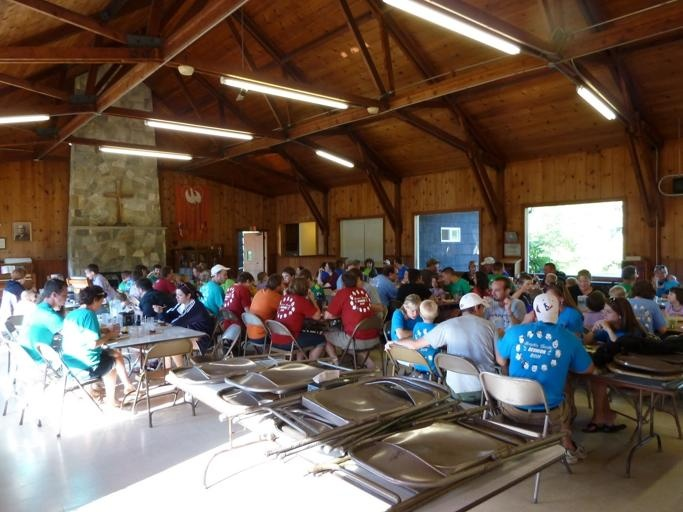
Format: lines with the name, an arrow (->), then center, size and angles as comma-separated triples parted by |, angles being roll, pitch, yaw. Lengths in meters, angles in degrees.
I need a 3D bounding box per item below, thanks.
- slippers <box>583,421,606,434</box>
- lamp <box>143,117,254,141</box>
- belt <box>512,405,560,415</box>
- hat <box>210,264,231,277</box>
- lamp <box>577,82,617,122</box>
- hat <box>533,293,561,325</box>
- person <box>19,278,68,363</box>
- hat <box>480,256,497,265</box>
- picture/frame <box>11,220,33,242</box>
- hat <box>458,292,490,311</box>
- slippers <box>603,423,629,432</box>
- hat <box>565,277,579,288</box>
slippers -> 2.479, 1.684, 5.152 | 0.223, 0.060, 0.084 | 1, -7, -10
lamp -> -2.278, -2.080, 8.474 | 0.637, 0.256, 1.698 | 8, 15, 37
belt -> 1.600, 1.252, 4.258 | 0.178, 0.041, 0.137 | 0, -2, -19
hat -> -1.904, 0.173, 8.291 | 0.346, 0.173, 0.220 | -24, 5, -12
lamp -> 3.485, -2.104, 7.158 | 0.143, 0.370, 1.185 | 11, 17, 43
hat -> 1.691, 0.425, 4.331 | 0.188, 0.220, 0.201 | 3, 13, 19
person -> -3.312, 0.756, 5.839 | 0.481, 1.125, 0.527 | -12, 32, -41
hat -> 2.782, 0.100, 9.801 | 0.314, 0.155, 0.225 | 6, -3, -9
picture/frame -> -7.138, -0.554, 11.667 | 0.086, 0.619, 0.499 | -5, -2, 43
hat -> 1.241, 0.414, 4.856 | 0.245, 0.128, 0.156 | -5, 8, -31
slippers -> 2.654, 1.681, 5.115 | 0.252, 0.077, 0.099 | -6, -19, 18
hat -> 3.248, 0.363, 7.418 | 0.128, 0.159, 0.166 | 8, 15, 10
